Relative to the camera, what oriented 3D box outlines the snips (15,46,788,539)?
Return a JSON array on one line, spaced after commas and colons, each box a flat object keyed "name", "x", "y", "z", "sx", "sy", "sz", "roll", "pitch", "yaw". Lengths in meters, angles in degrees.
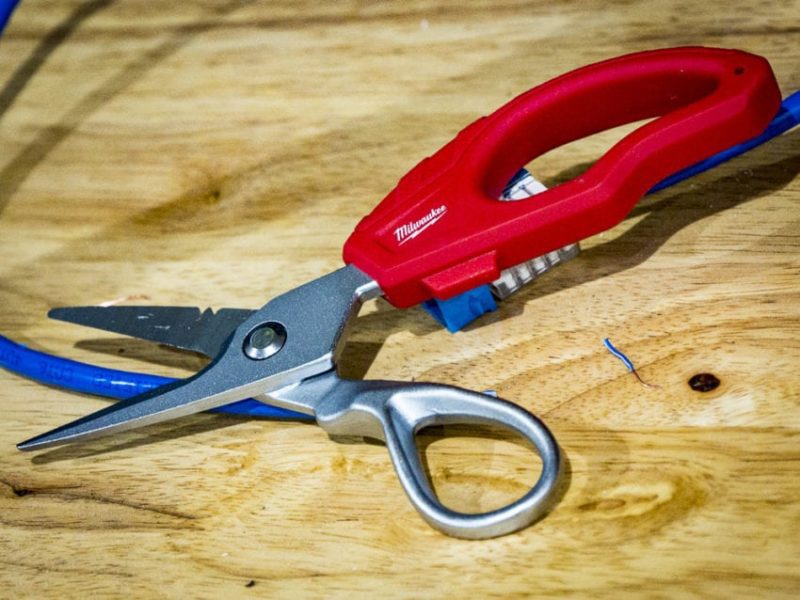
[{"name": "snips", "x": 0.006, "y": -0.007, "z": 0.892, "sx": 0.698, "sy": 0.082, "sz": 0.285, "roll": -15, "pitch": 62, "yaw": 4}]
